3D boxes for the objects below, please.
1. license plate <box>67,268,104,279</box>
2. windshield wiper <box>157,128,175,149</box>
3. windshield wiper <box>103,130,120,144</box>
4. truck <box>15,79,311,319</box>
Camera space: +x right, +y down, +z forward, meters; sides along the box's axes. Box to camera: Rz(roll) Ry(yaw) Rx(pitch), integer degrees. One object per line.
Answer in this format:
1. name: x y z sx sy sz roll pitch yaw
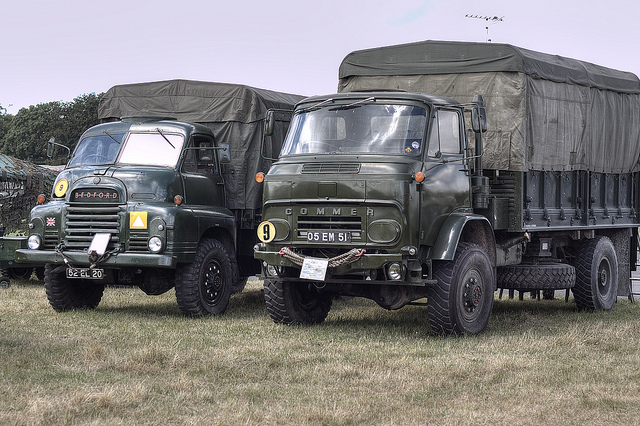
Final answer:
1. license plate: -4.409 1.138 12.816 0.779 0.192 0.210 2 -6 19
2. windshield wiper: -3.152 -1.541 13.842 0.071 0.408 0.067 -35 2 22
3. windshield wiper: -4.291 -1.577 14.013 0.049 0.349 0.050 -42 -9 -1
4. truck: -2.958 -0.574 16.002 3.695 4.444 7.190 0 -1 24
